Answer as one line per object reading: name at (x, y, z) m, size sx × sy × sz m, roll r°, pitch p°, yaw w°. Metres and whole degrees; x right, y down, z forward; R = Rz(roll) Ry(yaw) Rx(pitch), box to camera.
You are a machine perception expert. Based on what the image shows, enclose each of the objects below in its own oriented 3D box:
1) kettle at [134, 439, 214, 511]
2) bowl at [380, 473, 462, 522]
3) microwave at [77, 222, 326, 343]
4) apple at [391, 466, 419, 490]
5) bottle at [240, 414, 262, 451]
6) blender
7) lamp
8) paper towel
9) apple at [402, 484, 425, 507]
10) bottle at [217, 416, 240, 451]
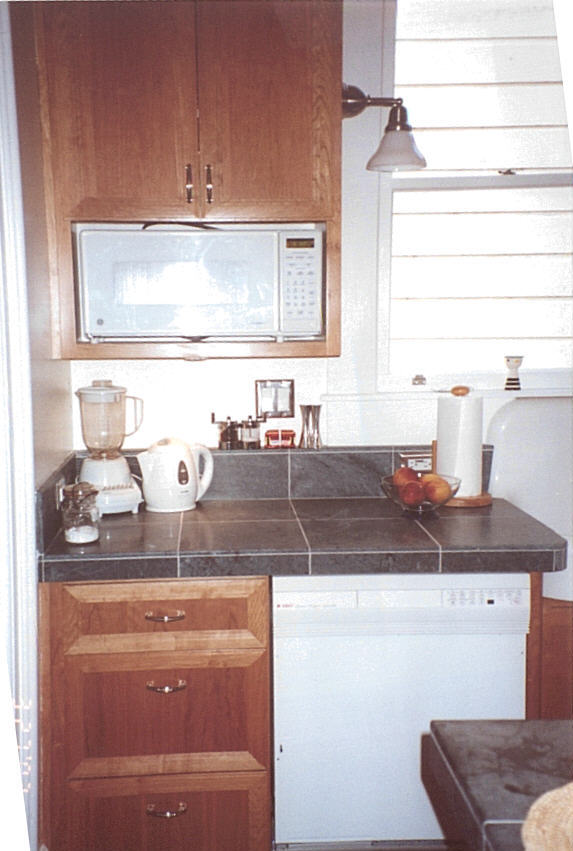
kettle at (-0.298, 0.135, 2.241) m, size 0.205 × 0.182 × 0.153 m, roll -3°, pitch 8°, yaw -21°
bowl at (0.370, 0.174, 2.241) m, size 0.150 × 0.103 × 0.183 m, roll -7°, pitch 20°, yaw -44°
microwave at (-0.208, -0.365, 2.083) m, size 0.611 × 0.308 × 0.429 m, roll 3°, pitch 14°, yaw -2°
apple at (0.317, 0.140, 2.211) m, size 0.055 × 0.054 × 0.063 m, roll -21°, pitch 21°, yaw 13°
bottle at (-0.107, 0.023, 2.471) m, size 0.063 × 0.088 × 0.096 m, roll -2°, pitch 8°, yaw -1°
blender at (-0.487, 0.068, 2.236) m, size 0.194 × 0.355 × 0.184 m, roll -2°, pitch -3°, yaw -26°
lamp at (0.272, -0.853, 2.320) m, size 0.203 × 0.280 × 0.343 m, roll -2°, pitch 8°, yaw -4°
paper towel at (0.479, 0.057, 2.293) m, size 0.120 × 0.280 × 0.097 m, roll 0°, pitch 8°, yaw 8°
apple at (0.326, 0.181, 2.137) m, size 0.053 × 0.055 × 0.055 m, roll 3°, pitch 9°, yaw 22°
bottle at (-0.173, 0.023, 2.455) m, size 0.062 × 0.083 × 0.117 m, roll -4°, pitch 8°, yaw -14°
